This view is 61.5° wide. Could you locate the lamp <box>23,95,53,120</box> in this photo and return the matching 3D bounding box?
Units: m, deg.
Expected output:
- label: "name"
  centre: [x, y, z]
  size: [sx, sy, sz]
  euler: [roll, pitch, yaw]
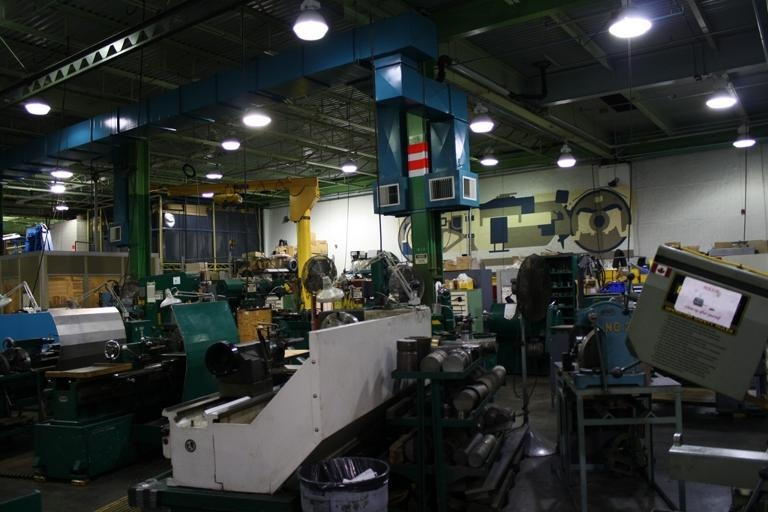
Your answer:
- label: "lamp"
  centre: [-5.165, -2.232, 9.621]
  size: [0.286, 0.221, 0.316]
  euler: [-5, 3, -37]
